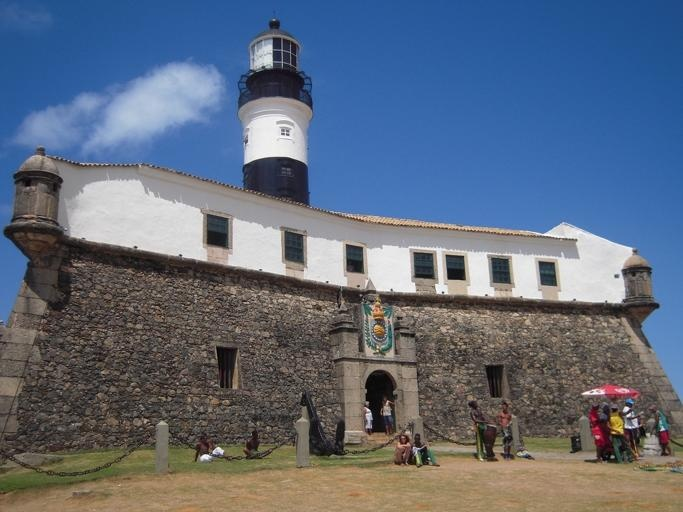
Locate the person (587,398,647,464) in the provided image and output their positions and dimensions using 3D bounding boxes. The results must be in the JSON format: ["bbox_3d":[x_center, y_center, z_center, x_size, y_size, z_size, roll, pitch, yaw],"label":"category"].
[{"bbox_3d":[8.032,5.241,17.268,0.929,1.680,1.149,-10,-21,20],"label":"person"}]

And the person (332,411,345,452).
[{"bbox_3d":[-0.082,5.677,18.220,0.353,1.032,0.812,-2,-20,-3],"label":"person"}]

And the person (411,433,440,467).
[{"bbox_3d":[2.380,5.593,16.760,0.695,0.862,0.913,-3,-19,2],"label":"person"}]

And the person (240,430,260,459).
[{"bbox_3d":[-3.094,6.302,19.400,0.664,1.060,1.015,2,-5,-4],"label":"person"}]

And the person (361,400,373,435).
[{"bbox_3d":[1.067,6.553,23.557,0.257,1.296,0.431,-8,-21,15],"label":"person"}]

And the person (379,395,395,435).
[{"bbox_3d":[1.902,6.493,23.769,0.425,1.542,1.097,-5,-20,6],"label":"person"}]

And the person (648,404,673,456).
[{"bbox_3d":[10.182,5.523,18.346,0.361,1.490,2.204,-13,-22,25],"label":"person"}]

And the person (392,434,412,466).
[{"bbox_3d":[1.781,5.565,16.808,0.545,0.868,0.432,-6,-20,8],"label":"person"}]

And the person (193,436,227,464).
[{"bbox_3d":[-3.968,5.681,17.177,0.685,0.779,0.820,-17,-24,34],"label":"person"}]
